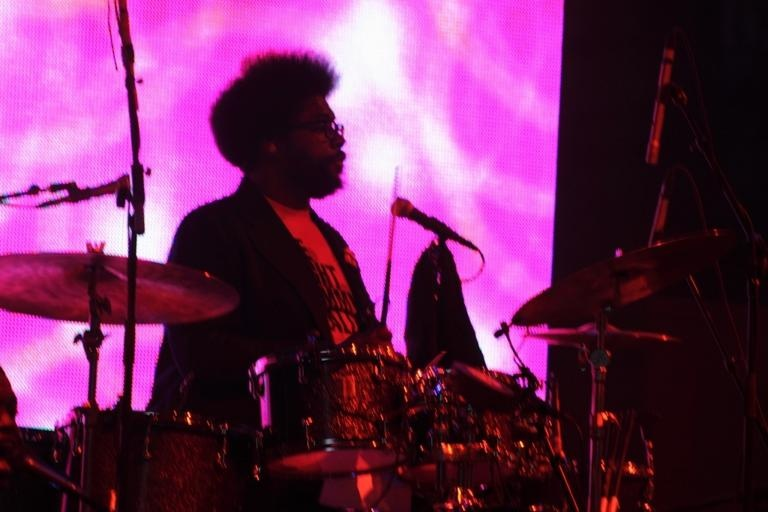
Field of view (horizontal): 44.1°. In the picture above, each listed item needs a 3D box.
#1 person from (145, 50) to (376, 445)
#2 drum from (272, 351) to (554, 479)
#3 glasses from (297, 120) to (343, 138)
[{"bbox_3d":[-0.573,-0.084,4.915,1.044,1.915,1.156,4,-4,-24],"label":"person"},{"bbox_3d":[0.064,0.740,4.195,0.849,0.342,0.666,24,-41,-34],"label":"drum"},{"bbox_3d":[-0.310,-0.663,4.944,0.121,0.041,0.123,-6,-8,35],"label":"glasses"}]
